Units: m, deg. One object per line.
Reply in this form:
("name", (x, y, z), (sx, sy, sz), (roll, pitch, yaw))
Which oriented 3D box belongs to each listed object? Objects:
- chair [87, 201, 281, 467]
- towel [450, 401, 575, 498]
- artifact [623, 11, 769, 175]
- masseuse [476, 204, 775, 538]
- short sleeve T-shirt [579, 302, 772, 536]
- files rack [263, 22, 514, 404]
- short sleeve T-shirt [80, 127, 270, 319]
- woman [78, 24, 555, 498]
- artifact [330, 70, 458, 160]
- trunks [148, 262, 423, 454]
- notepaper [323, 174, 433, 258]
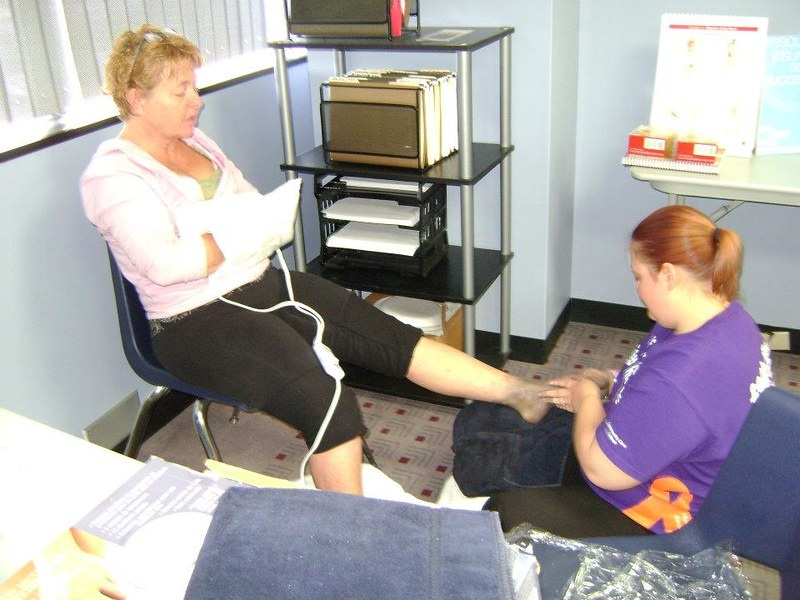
("chair", (-0.744, 0.073, 2.467), (0.665, 1.030, 0.580), (4, 16, 9))
("towel", (0.305, 0.423, 1.811), (0.289, 0.102, 0.289), (2, 24, 19))
("artifact", (1.085, -0.745, 2.346), (0.411, 0.478, 0.417), (13, 32, 24))
("masseuse", (0.594, 0.167, 1.803), (0.761, 0.849, 0.698), (13, 28, 38))
("short sleeve T-shirt", (0.608, 0.261, 1.437), (0.287, 0.473, 0.316), (19, 35, 34))
("files rack", (-0.086, -0.744, 2.538), (0.827, 1.344, 0.593), (8, 17, 6))
("short sleeve T-shirt", (-0.685, -0.281, 2.107), (0.350, 0.541, 0.596), (-7, 16, 24))
("woman", (-0.246, -0.121, 1.945), (1.534, 0.977, 0.893), (27, 36, 29))
("artifact", (-0.012, -0.685, 2.457), (0.494, 0.323, 0.345), (6, 24, 20))
("trunks", (-0.352, 0.153, 2.172), (0.958, 0.288, 0.687), (-16, -6, -21))
("notepaper", (-0.084, -0.350, 2.561), (0.443, 0.287, 0.330), (6, 21, 17))
